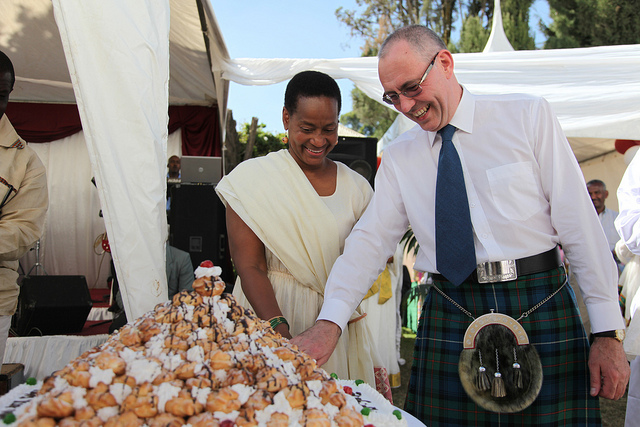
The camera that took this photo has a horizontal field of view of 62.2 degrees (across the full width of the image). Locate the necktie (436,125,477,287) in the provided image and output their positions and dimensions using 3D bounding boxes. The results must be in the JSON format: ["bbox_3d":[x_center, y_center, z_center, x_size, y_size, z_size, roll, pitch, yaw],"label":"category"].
[{"bbox_3d":[0.800,-0.061,3.147,0.223,0.932,0.244,1,6,13],"label":"necktie"}]
